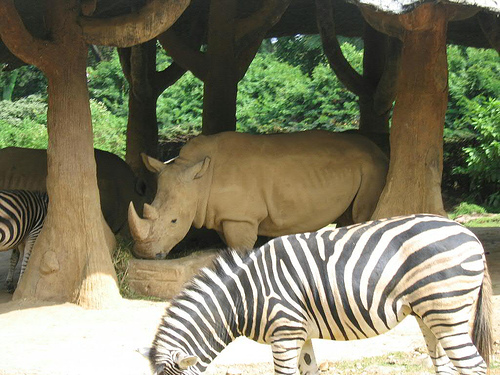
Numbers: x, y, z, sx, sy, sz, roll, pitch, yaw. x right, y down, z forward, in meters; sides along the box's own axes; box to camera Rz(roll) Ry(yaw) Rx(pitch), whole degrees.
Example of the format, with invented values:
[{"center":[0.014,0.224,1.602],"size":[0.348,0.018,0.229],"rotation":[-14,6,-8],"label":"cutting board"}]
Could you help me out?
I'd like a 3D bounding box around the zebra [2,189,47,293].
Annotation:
[{"center":[-3.397,0.612,9.890],"size":[0.386,1.152,0.902],"rotation":[3,14,13],"label":"zebra"}]
